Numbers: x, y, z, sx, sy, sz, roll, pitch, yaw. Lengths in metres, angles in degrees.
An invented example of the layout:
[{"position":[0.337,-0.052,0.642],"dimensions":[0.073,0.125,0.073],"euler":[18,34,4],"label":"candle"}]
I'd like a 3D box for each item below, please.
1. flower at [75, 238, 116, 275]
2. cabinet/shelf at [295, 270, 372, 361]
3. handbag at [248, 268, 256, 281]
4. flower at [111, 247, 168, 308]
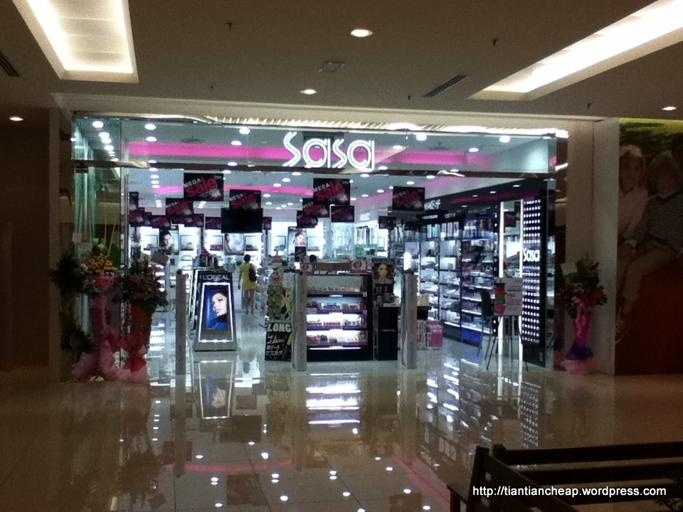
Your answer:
[{"position":[-3.852,0.007,8.725],"dimensions":[0.385,0.532,0.586],"euler":[2,2,43],"label":"flower"},{"position":[-0.194,1.175,10.286],"dimensions":[1.560,1.910,0.613],"euler":[0,-7,-5],"label":"cabinet/shelf"},{"position":[-2.693,0.558,16.532],"dimensions":[0.171,0.397,0.243],"euler":[0,2,-14],"label":"handbag"},{"position":[-3.236,0.584,9.025],"dimensions":[0.707,0.976,0.656],"euler":[-3,-4,44],"label":"flower"}]
